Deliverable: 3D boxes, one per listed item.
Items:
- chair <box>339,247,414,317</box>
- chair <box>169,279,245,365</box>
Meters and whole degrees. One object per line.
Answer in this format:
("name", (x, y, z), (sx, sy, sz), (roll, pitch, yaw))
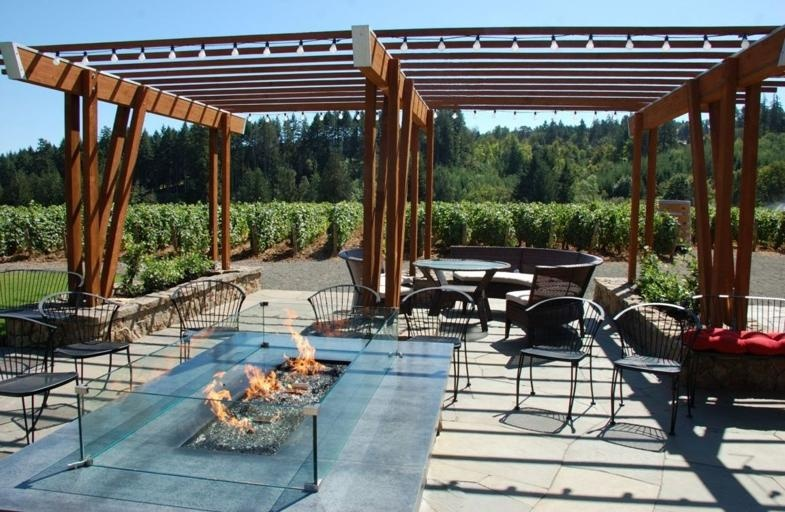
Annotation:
("chair", (-0.403, 0.334, 8.113), (0.904, 0.845, 0.917), (-1, 2, 14))
("chair", (-2.239, 0.923, 7.081), (0.983, 1.263, 1.016), (3, -2, -11))
